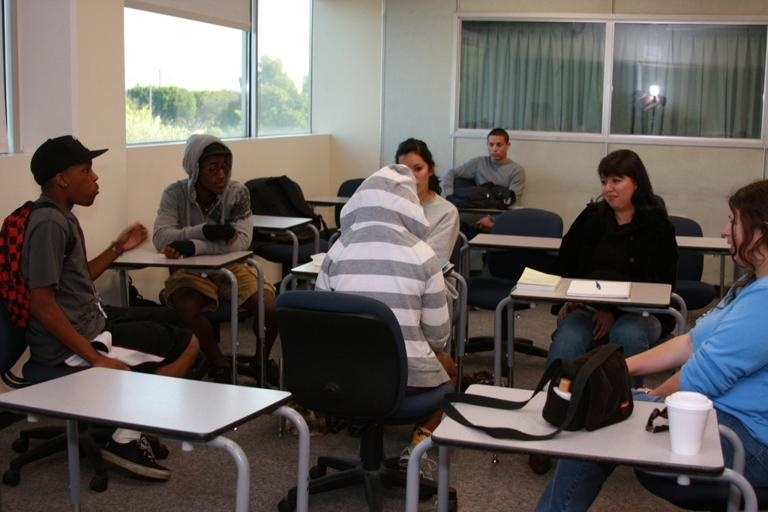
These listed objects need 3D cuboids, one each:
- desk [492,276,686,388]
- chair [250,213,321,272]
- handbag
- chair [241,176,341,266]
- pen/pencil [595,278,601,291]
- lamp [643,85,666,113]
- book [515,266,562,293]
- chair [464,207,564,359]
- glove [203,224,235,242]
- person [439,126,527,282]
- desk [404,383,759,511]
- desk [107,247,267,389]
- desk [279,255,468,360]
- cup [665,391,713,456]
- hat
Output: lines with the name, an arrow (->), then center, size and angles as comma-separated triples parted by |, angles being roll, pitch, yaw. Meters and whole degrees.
desk -> 1.139, 0.405, 3.396 | 0.764, 0.671, 0.327 | 1, 4, 11
chair -> -0.808, -0.137, 4.883 | 0.510, 0.488, 0.450 | 2, 4, 14
handbag -> 0.568, 0.459, 2.110 | 0.523, 0.222, 0.332 | -12, 21, -22
chair -> -0.805, -0.231, 5.625 | 0.760, 0.874, 0.781 | 1, 17, -16
pen/pencil -> 1.203, 0.161, 3.461 | 0.024, 0.012, 0.105 | -3, 19, 18
lamp -> 2.968, -1.736, 6.805 | 0.201, 0.291, 0.146 | 4, 8, 21
book -> 0.896, 0.139, 3.559 | 0.158, 0.039, 0.158 | 11, 21, 21
chair -> 0.938, 0.238, 4.742 | 0.827, 1.141, 0.802 | -3, 13, -10
glove -> -1.072, -0.151, 3.996 | 0.185, 0.106, 0.111 | 3, 14, 9
person -> 1.007, -0.613, 6.501 | 0.871, 1.630, 0.998 | 1, -13, 28
desk -> 0.660, 0.737, 2.159 | 1.120, 0.377, 0.416 | 4, 14, 10
desk -> -1.179, 0.364, 3.708 | 0.838, 0.725, 0.389 | 5, 14, 19
desk -> -0.019, 0.103, 3.921 | 0.809, 0.783, 0.840 | 3, 9, 12
cup -> 0.976, 0.537, 1.999 | 0.167, 0.179, 0.161 | 4, 0, 0
hat -> -1.668, -0.524, 3.244 | 0.330, 0.182, 0.210 | -26, 13, -8
